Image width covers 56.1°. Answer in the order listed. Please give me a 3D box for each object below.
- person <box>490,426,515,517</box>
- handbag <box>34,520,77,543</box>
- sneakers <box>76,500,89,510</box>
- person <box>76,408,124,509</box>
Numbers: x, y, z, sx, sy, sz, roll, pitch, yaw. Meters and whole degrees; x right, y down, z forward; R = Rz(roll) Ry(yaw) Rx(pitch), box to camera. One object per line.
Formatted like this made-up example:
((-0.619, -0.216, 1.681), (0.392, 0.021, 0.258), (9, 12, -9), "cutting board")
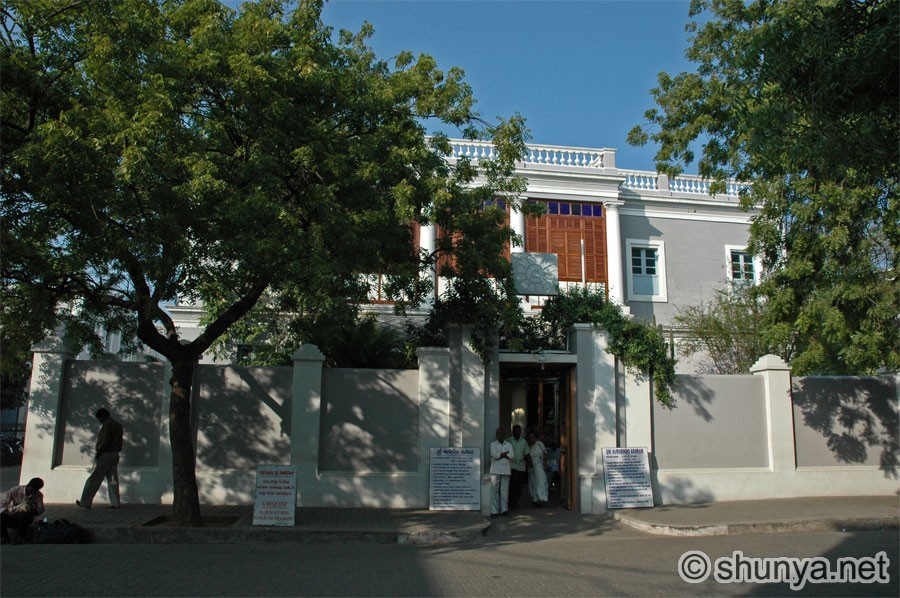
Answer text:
((1.204, 4.104, 20.324), (0.539, 1.997, 0.481), (3, -14, -13), "person")
((-7.817, 4.561, 16.692), (0.764, 0.433, 0.401), (5, -15, -21), "handbag")
((-8.416, 4.656, 19.300), (0.528, 0.197, 0.202), (-12, -18, 39), "sneakers")
((-8.004, 3.649, 19.555), (0.760, 2.268, 0.764), (-1, -14, 2), "person")
